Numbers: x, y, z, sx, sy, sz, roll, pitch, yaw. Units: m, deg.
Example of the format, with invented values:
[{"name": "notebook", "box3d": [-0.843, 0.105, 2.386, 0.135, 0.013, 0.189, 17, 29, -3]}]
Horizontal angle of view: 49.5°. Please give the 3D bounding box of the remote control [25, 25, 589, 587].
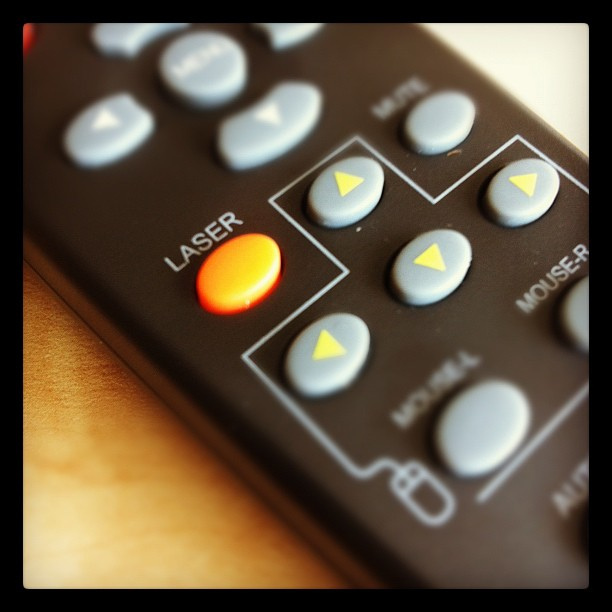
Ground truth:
[{"name": "remote control", "box3d": [-0.022, -0.015, 0.412, 0.173, 0.079, 0.383, -37, 67, -15]}]
